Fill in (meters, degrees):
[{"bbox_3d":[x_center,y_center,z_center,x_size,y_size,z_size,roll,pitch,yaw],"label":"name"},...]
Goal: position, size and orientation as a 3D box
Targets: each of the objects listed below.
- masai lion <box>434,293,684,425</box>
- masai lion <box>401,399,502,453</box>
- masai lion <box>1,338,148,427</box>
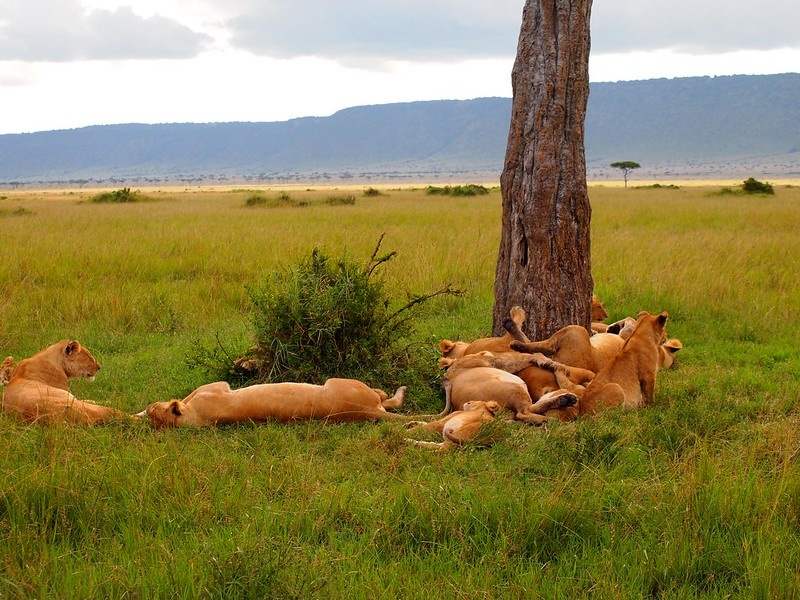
[{"bbox_3d":[1.806,0.639,10.394,2.629,1.005,2.118,1,8,22],"label":"masai lion"},{"bbox_3d":[0.566,1.264,9.121,0.996,0.335,0.676,-3,7,-10],"label":"masai lion"},{"bbox_3d":[-3.629,0.905,9.633,1.054,0.447,1.013,20,20,33],"label":"masai lion"}]
